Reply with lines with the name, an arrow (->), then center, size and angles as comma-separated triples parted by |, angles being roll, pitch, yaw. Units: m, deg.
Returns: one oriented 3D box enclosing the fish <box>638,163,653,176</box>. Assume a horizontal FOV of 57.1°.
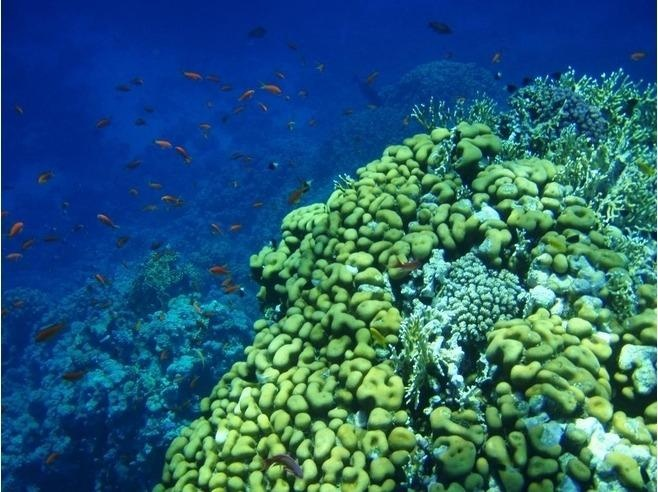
fish -> 8.107, -1.971, 15.521 | 0.197, 0.138, 0.395 | -6, 62, -40
